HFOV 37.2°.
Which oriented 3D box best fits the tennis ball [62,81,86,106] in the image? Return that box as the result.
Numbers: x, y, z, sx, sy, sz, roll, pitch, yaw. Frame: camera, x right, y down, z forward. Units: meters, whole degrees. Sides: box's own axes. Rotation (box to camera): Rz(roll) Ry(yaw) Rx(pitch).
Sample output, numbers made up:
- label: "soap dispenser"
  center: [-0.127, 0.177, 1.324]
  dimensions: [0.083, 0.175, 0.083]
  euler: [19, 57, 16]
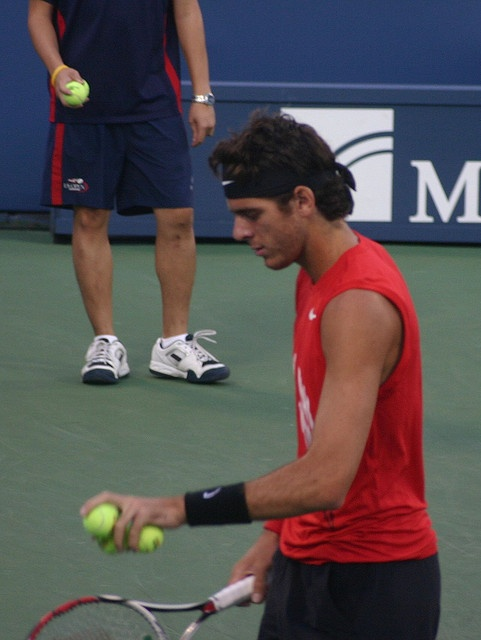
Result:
- label: "tennis ball"
  center: [-0.693, -0.958, 3.027]
  dimensions: [0.112, 0.107, 0.067]
  euler: [-6, 15, -31]

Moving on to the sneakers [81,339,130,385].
- label: "sneakers"
  center: [-0.627, 0.178, 3.260]
  dimensions: [0.167, 0.187, 0.423]
  euler: [0, 5, -4]

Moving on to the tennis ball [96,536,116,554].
- label: "tennis ball"
  center: [-0.214, 0.365, 1.154]
  dimensions: [0.028, 0.018, 0.034]
  euler: [-9, -7, -8]

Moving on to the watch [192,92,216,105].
- label: "watch"
  center: [-0.176, -1.066, 3.400]
  dimensions: [0.087, 0.046, 0.072]
  euler: [-4, 5, 13]

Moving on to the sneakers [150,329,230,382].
- label: "sneakers"
  center: [-0.233, 0.172, 3.361]
  dimensions: [0.427, 0.232, 0.163]
  euler: [9, 9, 31]

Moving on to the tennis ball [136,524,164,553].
- label: "tennis ball"
  center: [-0.144, 0.348, 1.130]
  dimensions: [0.019, 0.050, 0.056]
  euler: [10, 15, 32]
